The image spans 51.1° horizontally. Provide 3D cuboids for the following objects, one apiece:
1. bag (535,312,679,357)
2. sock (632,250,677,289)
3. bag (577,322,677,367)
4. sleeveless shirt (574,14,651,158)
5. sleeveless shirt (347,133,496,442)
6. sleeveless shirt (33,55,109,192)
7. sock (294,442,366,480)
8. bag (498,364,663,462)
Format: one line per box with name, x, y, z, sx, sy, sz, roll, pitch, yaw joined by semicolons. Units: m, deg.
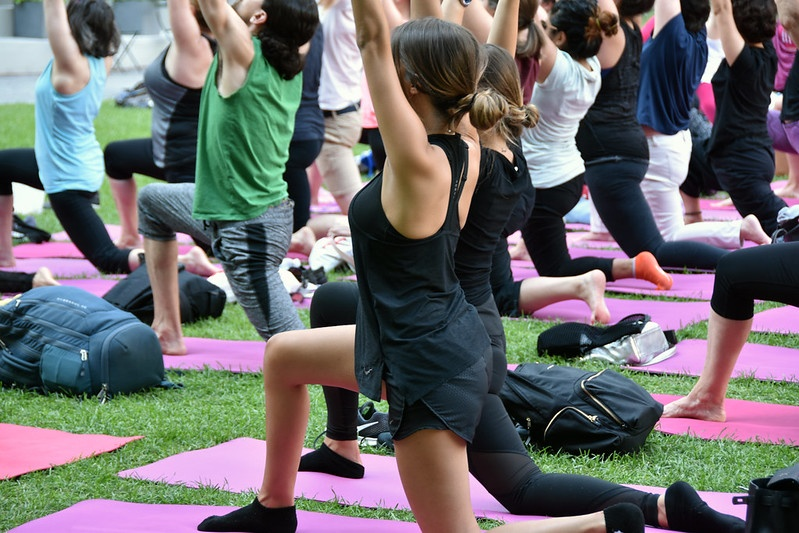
bag;1.280;0.457;5.592;0.544;0.207;0.422;-12;-2;18
sock;1.991;0.030;6.536;0.225;0.337;0.135;-31;-4;-6
bag;1.549;0.538;5.513;0.422;0.171;0.333;-7;4;10
sleeveless shirt;1.743;-1.361;6.894;0.607;1.240;0.859;-6;-5;26
sleeveless shirt;0.126;0.093;3.472;0.612;1.241;0.617;4;7;37
sleeveless shirt;-2.873;-1.232;7.294;0.603;1.200;0.412;-3;15;-25
sock;-0.346;0.990;4.263;0.388;0.158;0.146;7;-2;10
bag;0.990;0.722;4.465;0.617;0.250;0.513;19;25;28
